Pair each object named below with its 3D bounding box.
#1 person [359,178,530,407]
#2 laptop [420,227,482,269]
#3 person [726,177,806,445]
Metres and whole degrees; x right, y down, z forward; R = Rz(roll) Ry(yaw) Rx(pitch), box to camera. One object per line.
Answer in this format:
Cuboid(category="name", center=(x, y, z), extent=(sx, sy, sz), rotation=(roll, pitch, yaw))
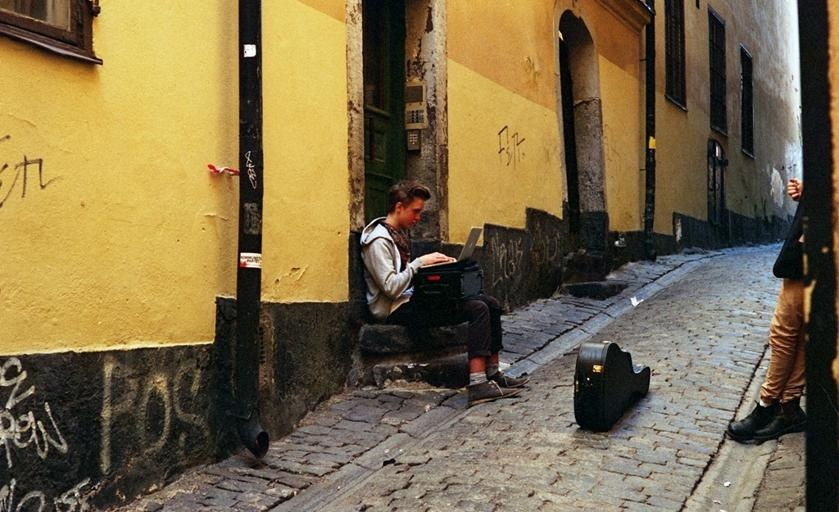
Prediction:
Cuboid(category="person", center=(0.168, 0.272, 7.307), extent=(1.433, 1.840, 0.623), rotation=(8, 18, 38))
Cuboid(category="laptop", center=(0.348, -0.085, 7.331), extent=(0.424, 0.275, 0.407), rotation=(0, 3, 20))
Cuboid(category="person", center=(2.700, 0.599, 5.990), extent=(0.580, 1.655, 0.320), rotation=(-10, 16, -25))
